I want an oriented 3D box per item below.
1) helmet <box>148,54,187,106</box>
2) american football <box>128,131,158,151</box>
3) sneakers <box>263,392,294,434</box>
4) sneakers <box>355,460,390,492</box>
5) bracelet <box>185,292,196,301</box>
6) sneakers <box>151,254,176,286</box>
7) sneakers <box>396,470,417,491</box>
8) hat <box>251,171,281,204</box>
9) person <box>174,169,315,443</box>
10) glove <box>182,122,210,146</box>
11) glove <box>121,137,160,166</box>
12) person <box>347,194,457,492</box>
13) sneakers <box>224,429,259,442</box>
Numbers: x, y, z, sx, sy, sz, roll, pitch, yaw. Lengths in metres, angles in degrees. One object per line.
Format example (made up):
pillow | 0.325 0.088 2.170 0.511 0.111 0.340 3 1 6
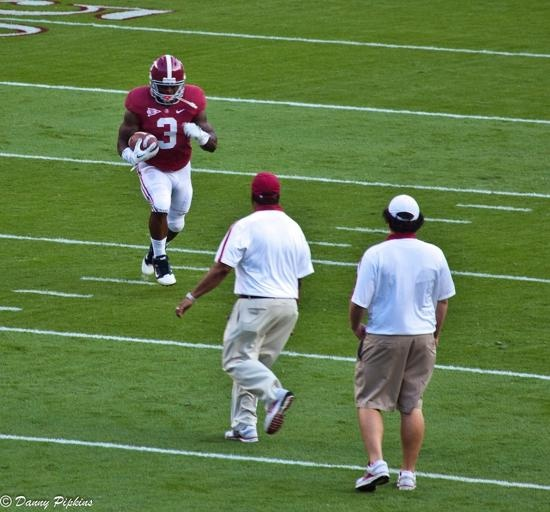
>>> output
helmet | -1.012 -1.681 15.267 0.362 0.354 0.458 -1 32 -11
american football | -1.224 -1.061 15.075 0.162 0.124 0.224 6 -6 -39
sneakers | 0.019 1.201 12.522 0.191 0.364 0.180 6 10 12
sneakers | 0.690 1.656 12.191 0.141 0.349 0.163 27 42 -27
bracelet | -0.660 0.321 12.922 0.061 0.042 0.077 10 -29 45
sneakers | -1.046 0.129 15.363 0.139 0.149 0.373 -9 30 -19
sneakers | 0.968 1.671 12.266 0.087 0.084 0.203 2 4 7
hat | -0.077 -0.538 12.934 0.201 0.130 0.262 2 31 -1
person | -0.170 0.338 12.744 0.853 1.921 0.784 4 10 2
glove | -0.738 -1.134 15.254 0.231 0.208 0.316 8 10 26
glove | -1.219 -0.913 15.088 0.327 0.138 0.230 -21 -10 18
person | 0.878 0.644 12.251 0.717 2.156 0.698 6 10 12
sneakers | -0.275 1.421 13.032 0.248 0.101 0.101 7 5 15
